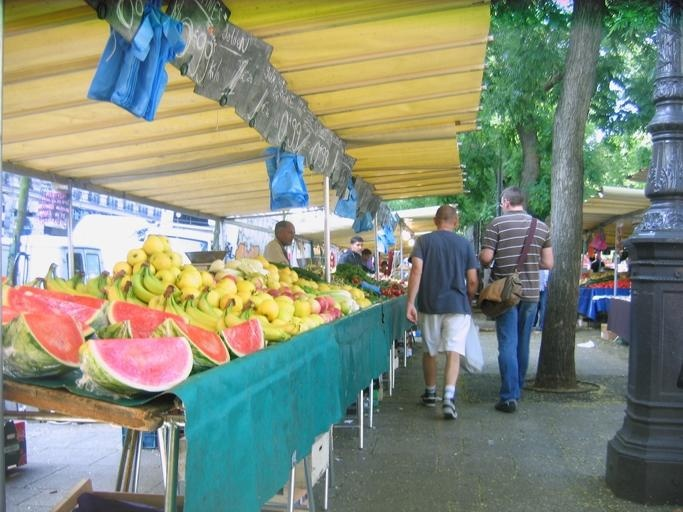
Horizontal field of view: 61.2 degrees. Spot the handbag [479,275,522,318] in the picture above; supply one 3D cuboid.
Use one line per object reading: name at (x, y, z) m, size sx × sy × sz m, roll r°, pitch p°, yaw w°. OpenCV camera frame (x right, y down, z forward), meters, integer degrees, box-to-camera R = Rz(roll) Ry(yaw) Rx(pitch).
handbag at (1.815, 0.457, 6.614) m, size 0.463 × 0.519 × 0.338 m, roll -2°, pitch 1°, yaw 18°
